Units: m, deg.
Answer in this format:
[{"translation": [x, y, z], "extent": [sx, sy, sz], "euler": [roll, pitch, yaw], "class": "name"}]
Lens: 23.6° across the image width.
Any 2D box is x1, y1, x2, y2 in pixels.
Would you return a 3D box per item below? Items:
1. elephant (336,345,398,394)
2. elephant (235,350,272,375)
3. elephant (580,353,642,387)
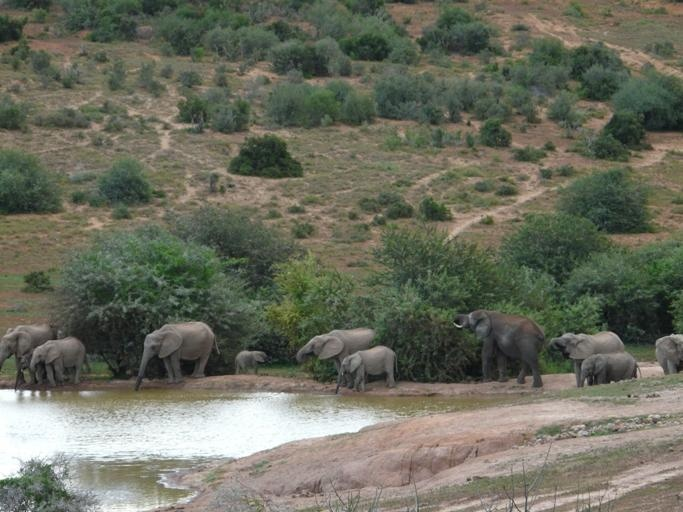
[{"translation": [2.477, 8.774, 130.726], "extent": [5.775, 4.495, 2.218], "euler": [0, -1, -3], "class": "elephant"}, {"translation": [-7.449, 8.607, 134.808], "extent": [2.652, 1.860, 2.100], "euler": [0, -2, -18], "class": "elephant"}, {"translation": [21.235, 8.731, 128.745], "extent": [5.295, 3.076, 1.894], "euler": [0, -3, -6], "class": "elephant"}]
